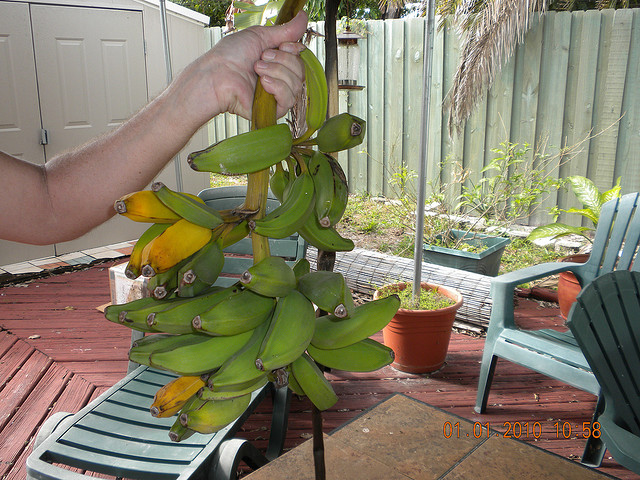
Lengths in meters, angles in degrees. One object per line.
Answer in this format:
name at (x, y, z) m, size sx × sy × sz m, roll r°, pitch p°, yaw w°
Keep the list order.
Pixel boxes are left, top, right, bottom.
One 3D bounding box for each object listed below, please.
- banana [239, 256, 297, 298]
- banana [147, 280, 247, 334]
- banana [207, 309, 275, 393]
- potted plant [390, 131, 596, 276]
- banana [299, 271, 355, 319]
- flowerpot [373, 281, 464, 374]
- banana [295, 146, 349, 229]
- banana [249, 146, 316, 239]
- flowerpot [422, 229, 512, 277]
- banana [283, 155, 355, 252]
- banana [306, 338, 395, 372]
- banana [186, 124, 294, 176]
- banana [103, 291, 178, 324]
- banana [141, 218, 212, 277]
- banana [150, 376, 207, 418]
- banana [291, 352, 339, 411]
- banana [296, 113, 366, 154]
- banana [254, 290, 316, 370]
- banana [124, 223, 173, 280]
banana at (-0.086, 0.055, 0.731) m, size 0.091 × 0.053 × 0.149 m, roll 13°, pitch 6°, yaw 3°
banana at (-0.191, 0.122, 0.710) m, size 0.154 × 0.044 × 0.055 m, roll -16°, pitch 44°, yaw -6°
banana at (-0.120, 0.180, 0.694) m, size 0.098 × 0.099 × 0.089 m, roll -2°, pitch 14°, yaw -6°
potted plant at (1.659, -0.406, 4.852) m, size 2.119 × 1.313 × 1.651 m, roll -19°, pitch 29°, yaw -35°
banana at (0.014, 0.086, 0.713) m, size 0.094 × 0.067 × 0.046 m, roll 23°, pitch -21°, yaw 13°
flowerpot at (0.659, 0.614, 3.191) m, size 0.680 × 0.529 × 0.690 m, roll -1°, pitch 18°, yaw 1°
banana at (0.010, -0.086, 0.787) m, size 0.103 × 0.133 × 0.032 m, roll -34°, pitch 3°, yaw -23°
banana at (-0.044, -0.072, 0.699) m, size 0.135 × 0.068 × 0.043 m, roll -48°, pitch 0°, yaw -2°
flowerpot at (1.365, 0.146, 4.084) m, size 0.727 × 0.348 × 0.566 m, roll -14°, pitch 19°, yaw -42°
banana at (-0.038, -0.053, 0.779) m, size 0.192 × 0.072 × 0.052 m, roll -39°, pitch 4°, yaw 29°
banana at (0.069, 0.207, 0.825) m, size 0.185 × 0.063 × 0.068 m, roll 0°, pitch 17°, yaw 2°
banana at (-0.112, -0.133, 0.670) m, size 0.189 × 0.064 × 0.062 m, roll -17°, pitch 2°, yaw -25°
banana at (-0.292, 0.114, 0.749) m, size 0.123 × 0.042 × 0.035 m, roll -7°, pitch -9°, yaw -33°
banana at (-0.223, 0.011, 0.695) m, size 0.107 × 0.033 × 0.037 m, roll -35°, pitch -2°, yaw -23°
banana at (-0.248, 0.275, 0.793) m, size 0.057 × 0.043 × 0.119 m, roll 5°, pitch 14°, yaw 20°
banana at (0.000, 0.237, 0.785) m, size 0.068 × 0.107 × 0.028 m, roll -30°, pitch 11°, yaw 19°
banana at (0.021, -0.180, 0.770) m, size 0.130 × 0.062 × 0.055 m, roll -15°, pitch 35°, yaw 2°
banana at (-0.052, 0.168, 0.705) m, size 0.091 × 0.060 × 0.173 m, roll 3°, pitch 20°, yaw 2°
banana at (-0.270, 0.036, 0.702) m, size 0.039 × 0.054 × 0.154 m, roll 27°, pitch 10°, yaw -19°
